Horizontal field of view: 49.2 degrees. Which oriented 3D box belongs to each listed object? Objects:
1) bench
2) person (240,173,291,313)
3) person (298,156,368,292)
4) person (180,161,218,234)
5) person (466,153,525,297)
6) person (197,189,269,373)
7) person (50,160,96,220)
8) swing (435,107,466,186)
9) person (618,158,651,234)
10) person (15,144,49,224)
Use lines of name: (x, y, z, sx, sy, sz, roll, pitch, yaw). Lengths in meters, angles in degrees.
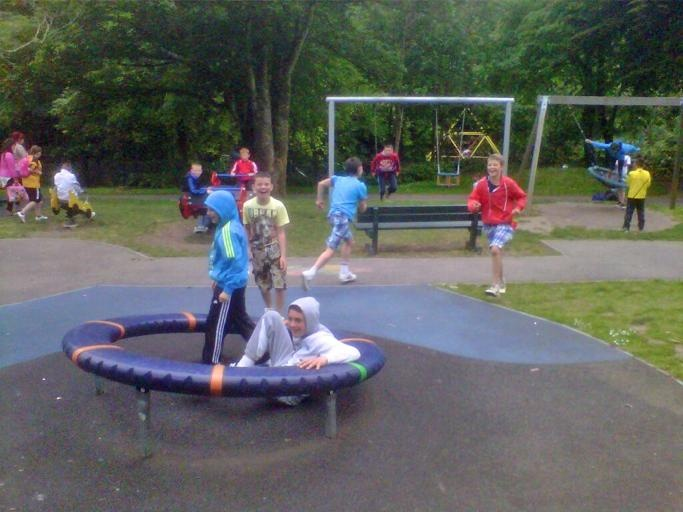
bench: (1.529, -1.179, 14.396, 2.897, 1.130, 0.859, -1, 25, -7)
person: (-1.007, -0.098, 9.830, 0.626, 1.987, 0.547, -2, 9, 21)
person: (-0.109, -0.597, 11.985, 0.930, 2.316, 0.918, 0, 1, -20)
person: (-3.058, -1.363, 15.862, 0.866, 2.073, 0.916, -1, 19, -5)
person: (2.339, -0.463, 11.268, 0.778, 2.117, 0.513, 2, 13, 10)
person: (-1.301, 0.320, 8.784, 0.616, 2.111, 0.907, 13, 15, 38)
person: (-5.896, -1.381, 16.251, 0.790, 1.371, 0.781, -3, 13, -14)
swing: (4.756, -4.774, 32.773, 1.552, 3.511, 1.466, 0, 3, -35)
person: (6.567, -1.377, 16.675, 0.485, 1.598, 0.515, -1, 14, -3)
person: (-6.946, -1.678, 16.842, 0.472, 1.718, 0.860, 6, 10, 8)
